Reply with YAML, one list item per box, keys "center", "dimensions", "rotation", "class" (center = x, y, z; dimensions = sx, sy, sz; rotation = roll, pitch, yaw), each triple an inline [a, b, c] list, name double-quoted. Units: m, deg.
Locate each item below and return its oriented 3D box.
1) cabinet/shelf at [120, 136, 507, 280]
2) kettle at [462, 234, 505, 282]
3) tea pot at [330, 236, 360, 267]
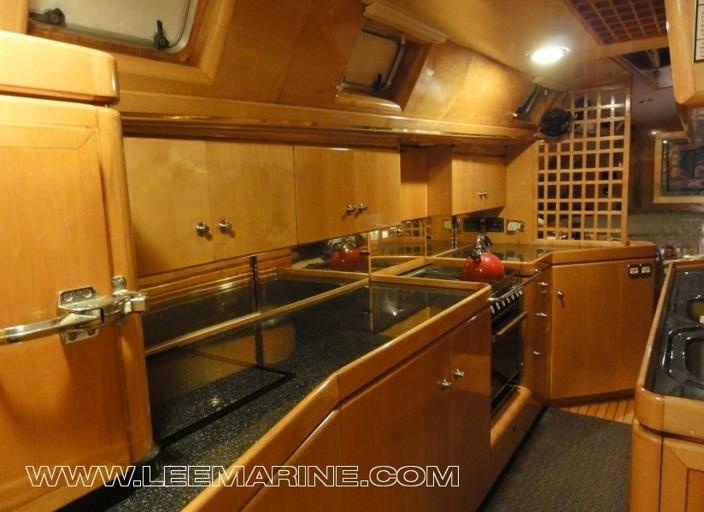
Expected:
- center: [0.146, -0.374, 2.749]
  dimensions: [0.296, 0.575, 2.935]
  rotation: [6, 15, 33]
  class: "cabinet/shelf"
- center: [0.725, 0.012, 2.906]
  dimensions: [0.199, 0.304, 0.347]
  rotation: [-2, -3, 30]
  class: "kettle"
- center: [-0.032, -0.009, 2.656]
  dimensions: [0.114, 0.169, 0.157]
  rotation: [6, 5, 17]
  class: "tea pot"
